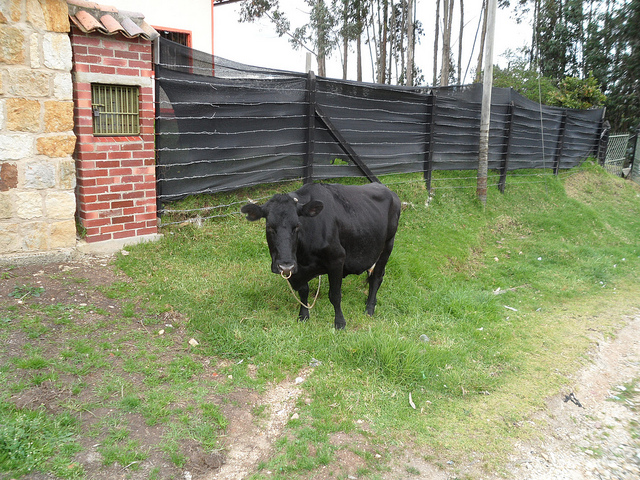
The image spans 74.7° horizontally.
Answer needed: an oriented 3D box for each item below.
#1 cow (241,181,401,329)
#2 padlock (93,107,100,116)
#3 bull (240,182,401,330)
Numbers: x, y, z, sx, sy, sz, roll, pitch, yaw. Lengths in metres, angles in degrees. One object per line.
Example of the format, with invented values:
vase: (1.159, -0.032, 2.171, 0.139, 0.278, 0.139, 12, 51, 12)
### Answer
cow: (0.237, 0.234, 6.446, 1.093, 2.086, 3.426, 7, 8, 34)
padlock: (-3.527, -2.036, 6.663, 0.083, 0.124, 0.046, -14, 21, -42)
bull: (0.164, 0.463, 6.224, 1.861, 2.327, 2.024, 9, 14, -2)
